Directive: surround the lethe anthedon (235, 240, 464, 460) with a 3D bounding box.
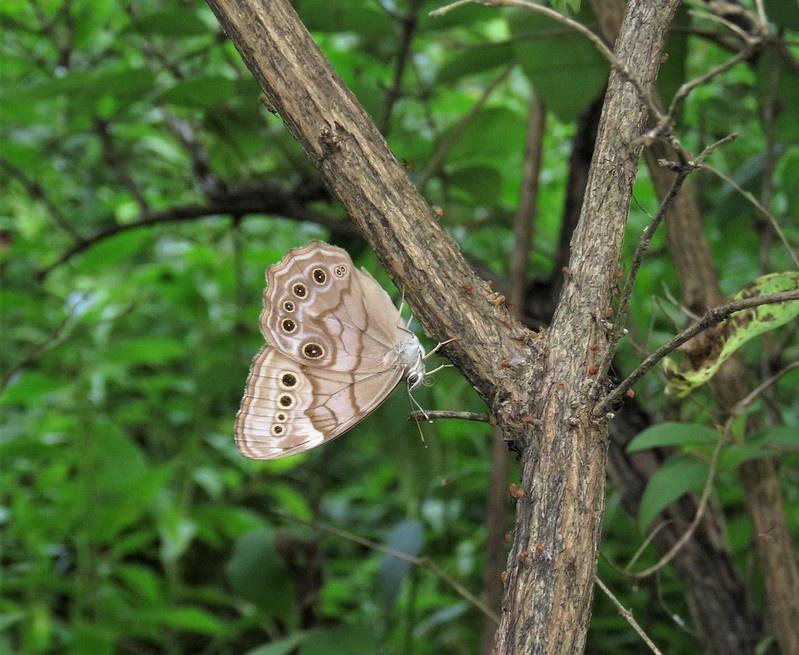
[{"bbox_3d":[-0.127,0.032,1.688,0.342,0.365,0.182,1,25,-14],"label":"lethe anthedon"}]
